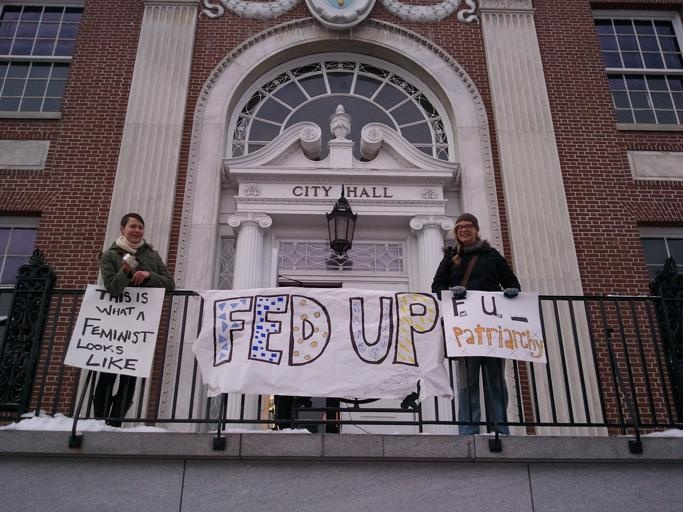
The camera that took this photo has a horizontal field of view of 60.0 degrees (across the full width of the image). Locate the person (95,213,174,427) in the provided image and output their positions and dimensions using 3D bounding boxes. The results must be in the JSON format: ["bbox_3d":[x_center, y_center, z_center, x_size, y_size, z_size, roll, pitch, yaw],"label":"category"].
[{"bbox_3d":[-2.694,0.712,7.512,0.886,2.699,1.493,12,-24,-26],"label":"person"}]

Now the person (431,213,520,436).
[{"bbox_3d":[1.693,0.787,7.352,1.048,2.781,0.973,-1,-22,6],"label":"person"}]

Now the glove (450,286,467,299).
[{"bbox_3d":[1.412,0.433,7.108,0.161,0.144,0.126,-5,5,9],"label":"glove"}]
